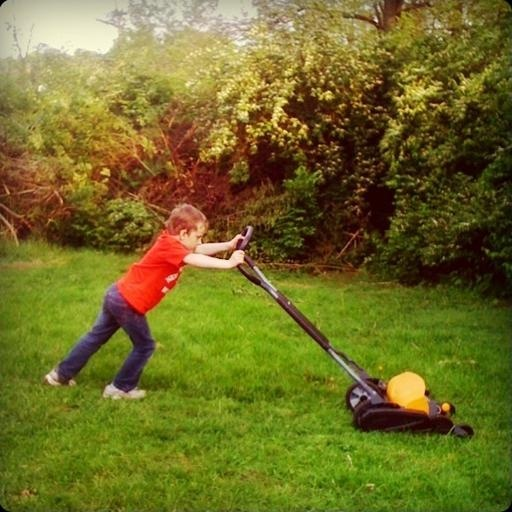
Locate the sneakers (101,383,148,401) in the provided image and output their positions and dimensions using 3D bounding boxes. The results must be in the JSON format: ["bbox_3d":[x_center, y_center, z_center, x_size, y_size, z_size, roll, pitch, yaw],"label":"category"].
[{"bbox_3d":[-0.771,0.804,3.497,0.258,0.120,0.098,1,1,-9],"label":"sneakers"}]

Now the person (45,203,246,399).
[{"bbox_3d":[-0.612,0.255,3.614,1.181,1.152,0.538,5,7,13],"label":"person"}]

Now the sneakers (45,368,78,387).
[{"bbox_3d":[-1.160,0.744,3.610,0.208,0.103,0.078,15,2,-15],"label":"sneakers"}]
